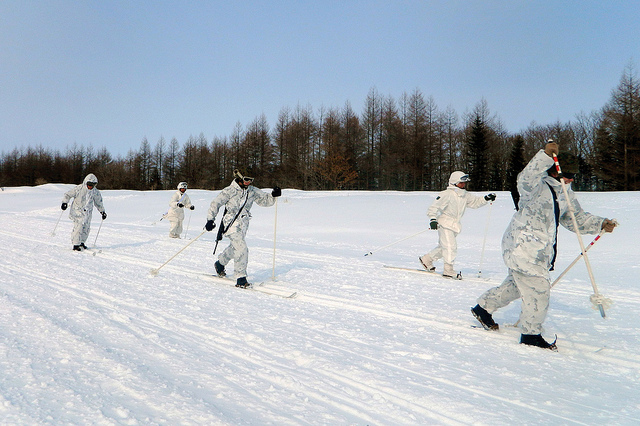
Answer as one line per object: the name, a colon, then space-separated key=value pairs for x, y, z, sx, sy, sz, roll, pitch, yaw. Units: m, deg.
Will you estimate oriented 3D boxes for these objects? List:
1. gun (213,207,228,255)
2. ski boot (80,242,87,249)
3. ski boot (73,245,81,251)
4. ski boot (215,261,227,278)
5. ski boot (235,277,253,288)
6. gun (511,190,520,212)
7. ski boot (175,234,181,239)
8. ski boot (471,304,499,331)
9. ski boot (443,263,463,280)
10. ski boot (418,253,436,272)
gun: x=-2.378 y=0.470 z=11.920 sx=0.224 sy=1.178 sz=0.085 roll=10 pitch=-1 yaw=26
ski boot: x=-6.044 y=0.819 z=12.819 sx=0.154 sy=0.215 sz=0.367 roll=-4 pitch=15 yaw=-23
ski boot: x=-5.995 y=0.853 z=12.367 sx=0.134 sy=0.107 sz=0.137 roll=5 pitch=7 yaw=32
ski boot: x=-1.948 y=1.085 z=9.881 sx=0.207 sy=0.286 sz=0.306 roll=-4 pitch=15 yaw=-23
ski boot: x=-1.397 y=1.265 z=9.137 sx=0.324 sy=0.157 sz=0.132 roll=-1 pitch=-4 yaw=21
gun: x=2.855 y=-0.204 z=7.301 sx=0.077 sy=0.369 sz=0.094 roll=9 pitch=-19 yaw=-21
ski boot: x=-4.588 y=0.740 z=16.171 sx=0.135 sy=0.141 sz=0.075 roll=-1 pitch=-10 yaw=-20
ski boot: x=2.409 y=1.533 z=7.432 sx=0.487 sy=0.219 sz=0.180 roll=46 pitch=-1 yaw=7
ski boot: x=2.708 y=1.177 z=10.082 sx=0.463 sy=0.333 sz=0.186 roll=2 pitch=1 yaw=17
ski boot: x=2.299 y=1.045 z=10.759 sx=0.250 sy=0.556 sz=0.181 roll=-17 pitch=-11 yaw=8
